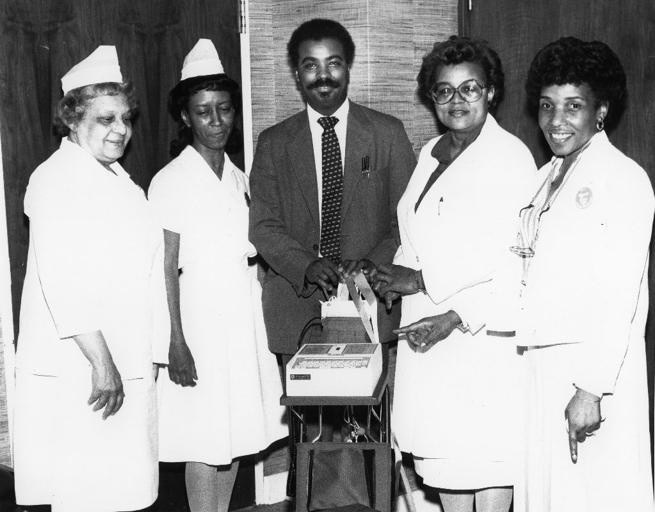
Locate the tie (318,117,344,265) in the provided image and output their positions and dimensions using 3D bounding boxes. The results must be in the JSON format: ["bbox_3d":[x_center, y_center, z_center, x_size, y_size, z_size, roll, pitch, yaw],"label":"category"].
[{"bbox_3d":[0.011,-0.337,4.785,0.120,0.710,0.140,-1,5,-1],"label":"tie"}]

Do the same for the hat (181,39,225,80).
[{"bbox_3d":[-0.618,-0.956,4.703,0.184,0.215,0.189,-3,5,-28],"label":"hat"}]

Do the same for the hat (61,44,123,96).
[{"bbox_3d":[-1.046,-0.832,4.287,0.278,0.183,0.192,-29,42,-26],"label":"hat"}]
